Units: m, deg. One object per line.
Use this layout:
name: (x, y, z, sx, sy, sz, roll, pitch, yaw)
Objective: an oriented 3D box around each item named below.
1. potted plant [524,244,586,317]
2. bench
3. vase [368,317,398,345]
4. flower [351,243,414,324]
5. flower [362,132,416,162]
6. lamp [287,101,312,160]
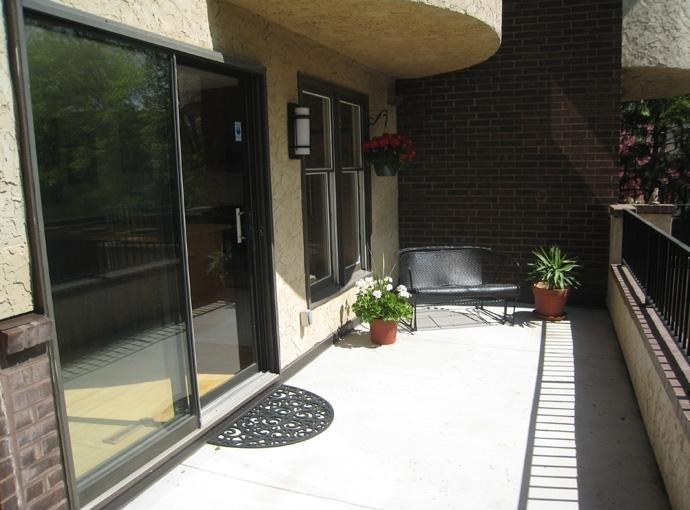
potted plant: (2.878, 0.321, 6.981, 0.913, 1.025, 0.899, 3, 6, 41)
bench: (1.542, 0.363, 6.921, 1.661, 0.895, 1.433, -1, 13, -1)
vase: (0.420, 0.855, 5.850, 0.295, 0.220, 0.293, -1, 0, -31)
flower: (0.400, 0.484, 5.994, 0.700, 0.598, 0.637, 1, 14, -19)
flower: (0.554, -1.395, 6.608, 0.442, 0.273, 0.441, -1, 8, -13)
lamp: (-0.453, -1.199, 4.919, 0.181, 0.526, 0.252, 4, 14, 19)
